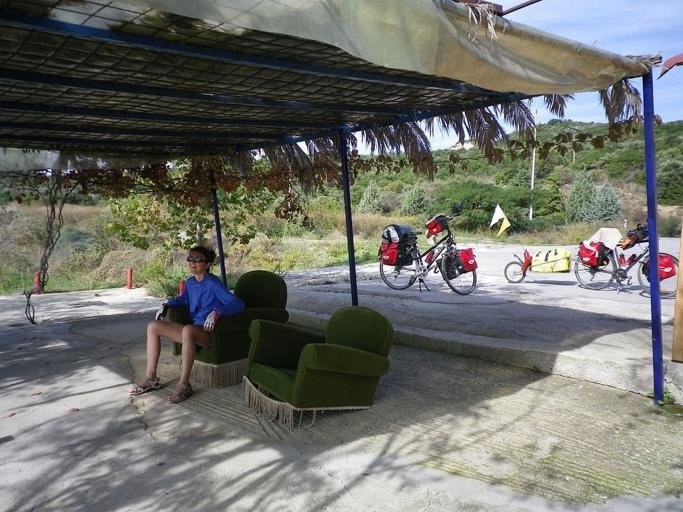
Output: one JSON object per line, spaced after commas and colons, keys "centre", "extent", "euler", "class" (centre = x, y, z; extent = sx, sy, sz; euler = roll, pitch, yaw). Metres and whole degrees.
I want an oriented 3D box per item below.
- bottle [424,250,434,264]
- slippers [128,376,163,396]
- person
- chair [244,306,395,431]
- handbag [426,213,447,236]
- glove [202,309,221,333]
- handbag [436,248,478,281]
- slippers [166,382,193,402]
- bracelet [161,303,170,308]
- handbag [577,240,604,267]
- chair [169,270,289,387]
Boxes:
{"centre": [2.009, 0.049, 9.604], "extent": [0.173, 0.270, 0.159], "euler": [-2, 7, 0], "class": "bottle"}
{"centre": [-2.186, 1.413, 4.606], "extent": [0.313, 0.122, 0.152], "euler": [6, -12, -41], "class": "slippers"}
{"centre": [-1.810, 0.696, 4.802], "extent": [1.223, 1.519, 1.016], "euler": [0, -3, -27], "class": "person"}
{"centre": [-0.244, 1.029, 4.223], "extent": [1.218, 1.112, 1.354], "euler": [9, -3, -23], "class": "chair"}
{"centre": [2.218, -0.714, 10.052], "extent": [0.622, 0.540, 0.416], "euler": [-10, -3, 27], "class": "handbag"}
{"centre": [-1.457, 0.720, 4.633], "extent": [0.197, 0.243, 0.124], "euler": [-3, 7, -15], "class": "glove"}
{"centre": [2.612, 0.168, 9.467], "extent": [0.616, 0.729, 0.789], "euler": [-8, -7, -39], "class": "handbag"}
{"centre": [-1.725, 1.427, 4.382], "extent": [0.119, 0.090, 0.239], "euler": [-6, -9, 18], "class": "slippers"}
{"centre": [-2.059, 0.570, 4.837], "extent": [0.045, 0.027, 0.058], "euler": [-5, 12, -12], "class": "bracelet"}
{"centre": [6.054, -0.039, 10.137], "extent": [0.379, 0.665, 0.659], "euler": [0, 5, -30], "class": "handbag"}
{"centre": [-1.480, 0.847, 5.643], "extent": [1.380, 1.515, 1.391], "euler": [5, -7, -44], "class": "chair"}
